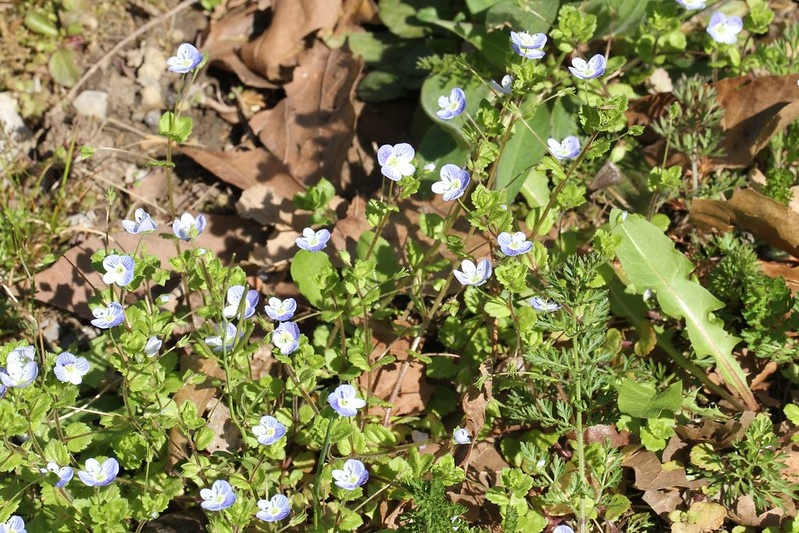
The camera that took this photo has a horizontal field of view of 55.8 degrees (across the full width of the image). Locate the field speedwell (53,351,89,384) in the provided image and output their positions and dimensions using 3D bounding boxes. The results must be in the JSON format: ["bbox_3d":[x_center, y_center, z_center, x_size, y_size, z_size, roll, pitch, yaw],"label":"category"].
[{"bbox_3d":[-1.702,0.523,3.897,0.160,0.100,0.173,25,83,-27],"label":"field speedwell"}]

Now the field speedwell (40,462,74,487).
[{"bbox_3d":[-1.737,1.063,3.844,0.155,0.066,0.143,31,33,33],"label":"field speedwell"}]
